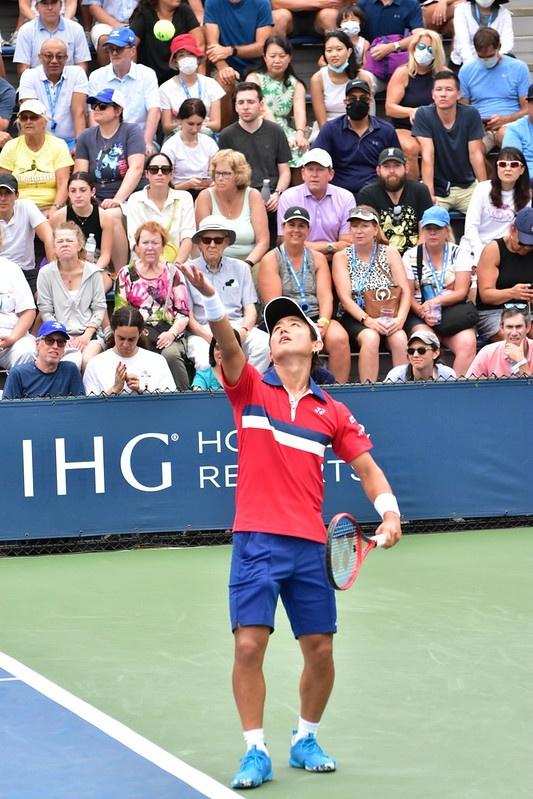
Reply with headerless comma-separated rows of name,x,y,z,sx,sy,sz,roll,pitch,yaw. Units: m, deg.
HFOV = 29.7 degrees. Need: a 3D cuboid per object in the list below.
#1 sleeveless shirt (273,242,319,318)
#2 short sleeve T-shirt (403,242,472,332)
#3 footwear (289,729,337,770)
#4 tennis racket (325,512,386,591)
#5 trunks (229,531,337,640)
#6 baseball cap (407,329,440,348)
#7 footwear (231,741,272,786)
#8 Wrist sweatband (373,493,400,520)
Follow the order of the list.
sleeveless shirt,0.266,-1.016,8.567,0.448,0.687,0.288,-2,10,3
short sleeve T-shirt,1.542,-0.945,9.017,0.694,0.875,0.508,-3,22,20
footwear,0.153,1.260,3.626,0.082,0.094,0.220,4,-7,-36
tennis racket,0.267,0.494,3.404,0.084,0.233,0.386,0,7,16
trunks,0.060,0.633,3.495,0.361,0.315,0.193,15,-32,-32
baseball cap,1.247,-0.462,7.882,0.198,0.146,0.272,5,9,45
footwear,-0.043,1.237,3.422,0.074,0.091,0.201,-1,-4,19
Wrist sweatband,0.451,0.412,3.738,0.108,0.107,0.105,-5,15,17
